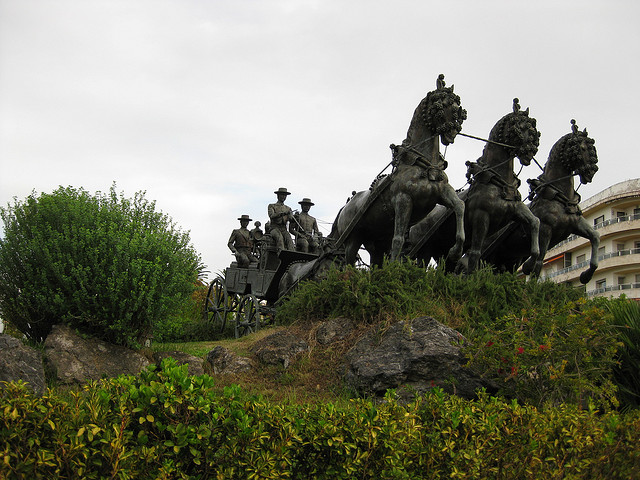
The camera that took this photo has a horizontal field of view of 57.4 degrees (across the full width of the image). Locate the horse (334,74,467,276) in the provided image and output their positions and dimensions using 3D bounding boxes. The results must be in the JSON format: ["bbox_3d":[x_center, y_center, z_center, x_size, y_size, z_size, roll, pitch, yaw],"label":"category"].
[{"bbox_3d":[1.530,-0.635,12.696,1.010,3.799,5.207,9,-19,-22],"label":"horse"}]

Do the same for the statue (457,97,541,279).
[{"bbox_3d":[3.695,-1.138,11.881,1.474,3.815,1.242,5,1,9],"label":"statue"}]

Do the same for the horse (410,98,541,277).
[{"bbox_3d":[3.151,-0.392,13.173,1.177,3.774,5.081,10,-19,-21],"label":"horse"}]

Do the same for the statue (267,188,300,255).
[{"bbox_3d":[-1.243,-0.757,18.994,0.883,2.048,2.345,5,1,-5],"label":"statue"}]

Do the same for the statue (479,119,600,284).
[{"bbox_3d":[4.946,-0.450,13.480,1.235,3.283,3.840,15,-22,-14],"label":"statue"}]
